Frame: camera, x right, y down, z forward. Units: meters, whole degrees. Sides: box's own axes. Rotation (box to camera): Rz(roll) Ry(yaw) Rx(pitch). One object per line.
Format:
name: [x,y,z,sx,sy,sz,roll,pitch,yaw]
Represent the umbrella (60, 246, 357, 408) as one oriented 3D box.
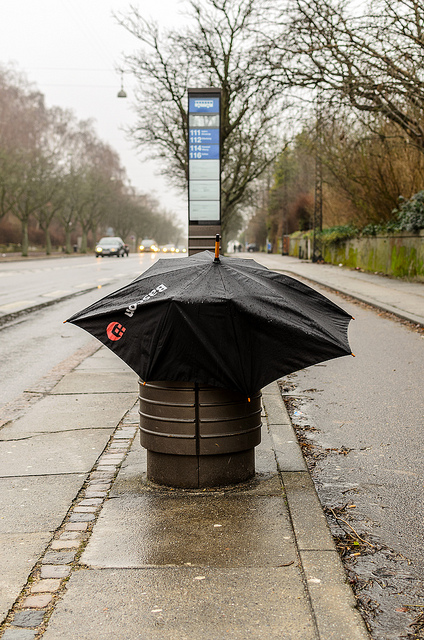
umbrella: [0.130,0.000,3.720,1.238,0.571,1.187,-9,26,-23]
